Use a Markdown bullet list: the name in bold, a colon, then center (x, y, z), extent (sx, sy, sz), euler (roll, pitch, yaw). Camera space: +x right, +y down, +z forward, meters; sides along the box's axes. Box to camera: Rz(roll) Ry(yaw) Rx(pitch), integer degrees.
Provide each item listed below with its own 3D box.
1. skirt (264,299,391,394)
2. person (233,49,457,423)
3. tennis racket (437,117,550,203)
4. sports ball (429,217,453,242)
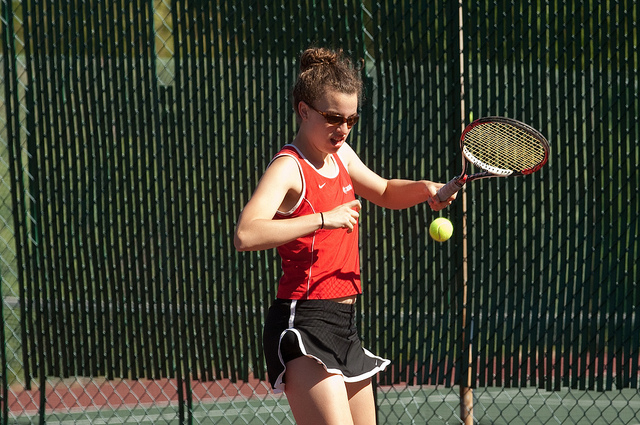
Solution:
- **skirt**: center (0.061, 0.911, 7.426), extent (1.027, 0.921, 0.491), euler (-3, -3, 17)
- **person**: center (0.030, 0.194, 7.112), extent (1.205, 2.409, 0.523), euler (-6, -1, -10)
- **tennis racket**: center (1.246, -0.422, 7.282), extent (0.441, 0.101, 0.850), euler (37, -45, -14)
- **sports ball**: center (0.857, 0.121, 7.460), extent (0.112, 0.151, 0.131), euler (3, -10, 0)
